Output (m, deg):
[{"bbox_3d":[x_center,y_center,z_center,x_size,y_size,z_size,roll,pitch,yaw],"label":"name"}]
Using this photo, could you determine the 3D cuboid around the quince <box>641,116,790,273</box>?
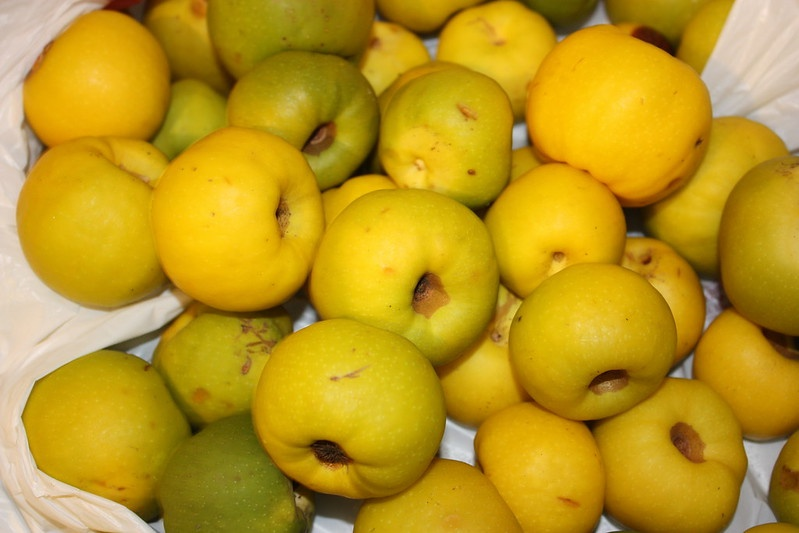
[{"bbox_3d":[0.559,-0.120,1.532,0.247,0.271,0.323,2,88,4],"label":"quince"}]
